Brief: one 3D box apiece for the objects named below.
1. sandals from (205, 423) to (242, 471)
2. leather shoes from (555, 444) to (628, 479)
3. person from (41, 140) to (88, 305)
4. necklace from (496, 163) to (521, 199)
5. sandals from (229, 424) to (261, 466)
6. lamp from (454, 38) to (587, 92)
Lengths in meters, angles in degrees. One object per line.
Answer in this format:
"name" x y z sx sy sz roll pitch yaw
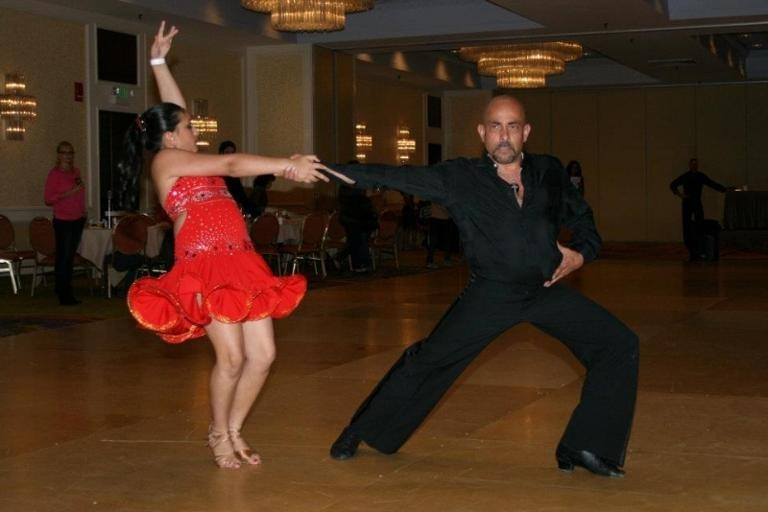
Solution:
"sandals" -0.939 1.108 3.962 0.118 0.127 0.297 -9 18 -31
"leather shoes" 1.136 1.124 3.797 0.433 0.187 0.143 1 3 14
"person" -4.288 -0.448 9.127 0.469 2.183 0.479 -4 6 -26
"necklace" 0.678 -0.404 3.698 0.070 0.194 0.144 -35 18 -28
"sandals" -0.854 1.107 3.995 0.316 0.135 0.098 17 9 38
"lamp" 3.297 -4.594 16.204 2.215 0.764 2.358 -2 5 -19
